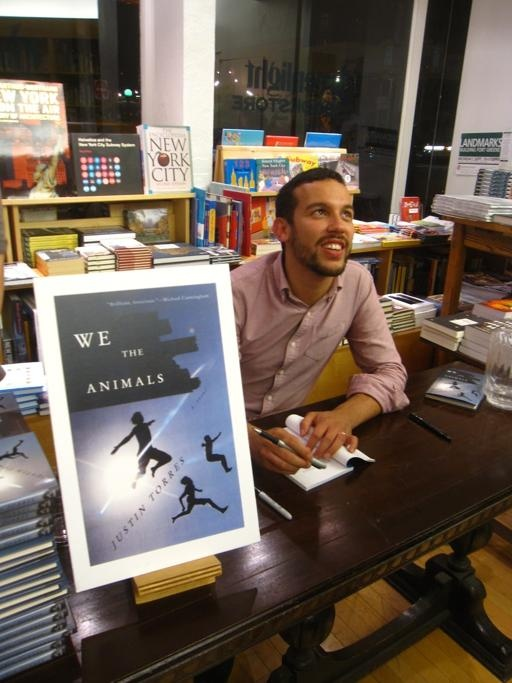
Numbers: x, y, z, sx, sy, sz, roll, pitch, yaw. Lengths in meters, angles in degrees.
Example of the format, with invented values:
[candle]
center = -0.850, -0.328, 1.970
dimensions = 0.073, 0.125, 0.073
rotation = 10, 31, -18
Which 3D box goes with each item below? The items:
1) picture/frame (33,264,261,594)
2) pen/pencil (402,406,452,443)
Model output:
[picture/frame]
center = -0.125, 0.101, 0.666
dimensions = 0.264, 0.371, 0.181
rotation = -10, 24, -22
[pen/pencil]
center = 0.441, 0.210, 1.336
dimensions = 0.028, 0.027, 0.163
rotation = 11, 17, -21
